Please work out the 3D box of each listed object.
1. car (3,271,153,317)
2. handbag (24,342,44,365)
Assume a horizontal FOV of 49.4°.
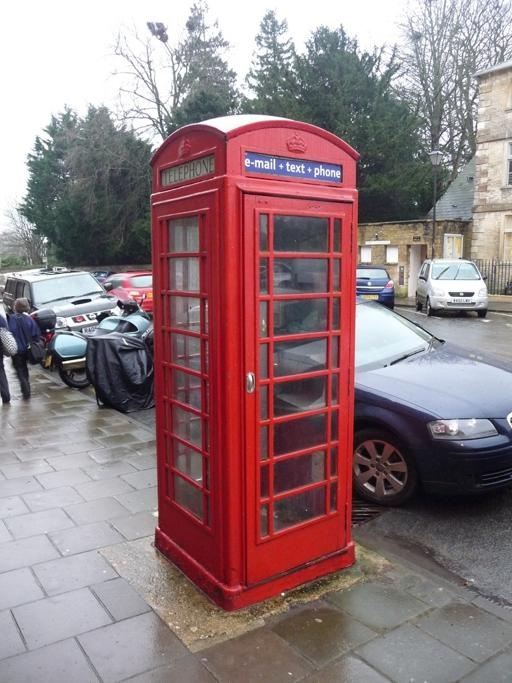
[{"bbox_3d":[-3.970,-1.060,12.392,1.429,1.294,2.891,-11,9,-41],"label":"car"},{"bbox_3d":[-3.343,0.157,8.395,0.228,0.411,0.355,-1,0,27],"label":"handbag"}]
